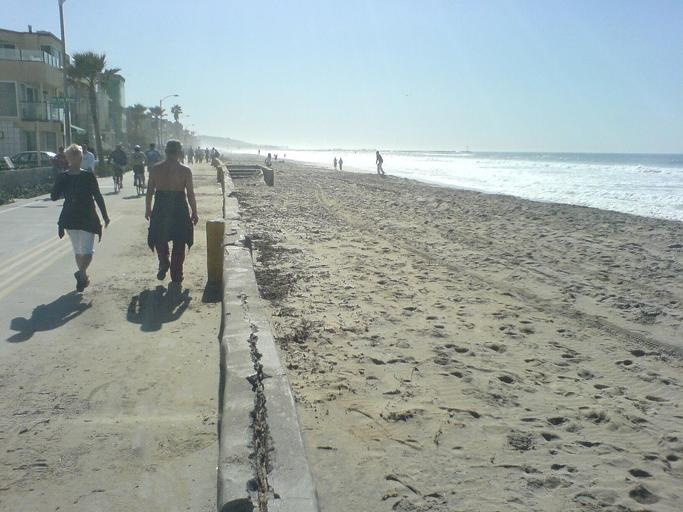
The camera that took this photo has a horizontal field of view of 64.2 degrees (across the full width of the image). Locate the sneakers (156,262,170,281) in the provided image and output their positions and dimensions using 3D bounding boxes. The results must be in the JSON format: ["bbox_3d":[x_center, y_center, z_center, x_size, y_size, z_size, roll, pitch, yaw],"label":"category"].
[{"bbox_3d":[-2.698,0.248,8.329,0.125,0.232,0.235,19,-14,-17],"label":"sneakers"}]

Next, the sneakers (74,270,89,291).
[{"bbox_3d":[-3.740,0.352,7.888,0.158,0.307,0.130,1,8,-17],"label":"sneakers"}]
